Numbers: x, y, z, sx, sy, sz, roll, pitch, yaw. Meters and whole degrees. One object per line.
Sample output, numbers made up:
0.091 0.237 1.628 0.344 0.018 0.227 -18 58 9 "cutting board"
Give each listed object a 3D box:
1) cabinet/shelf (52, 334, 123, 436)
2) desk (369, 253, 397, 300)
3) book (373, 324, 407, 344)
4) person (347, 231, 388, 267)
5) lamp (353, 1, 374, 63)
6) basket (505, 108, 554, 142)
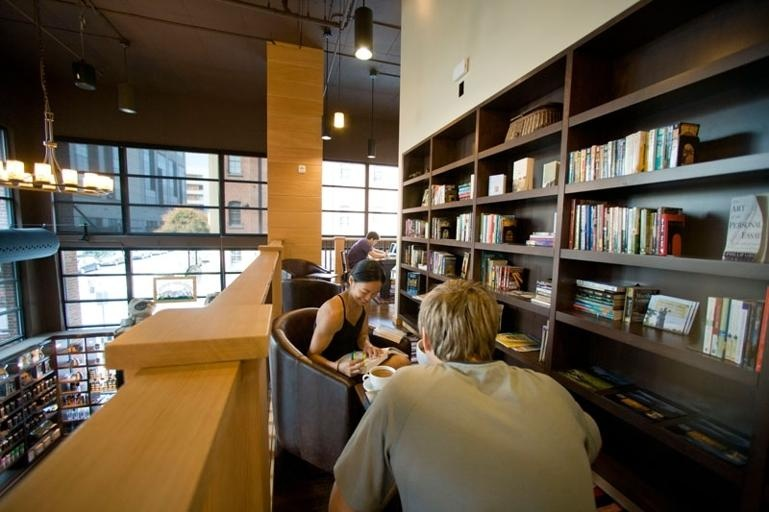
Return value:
-6.188 2.596 10.905 0.989 2.322 1.394 -1 4 -25 "cabinet/shelf"
0.034 0.333 9.770 0.611 0.692 1.075 -1 5 -5 "desk"
0.045 0.785 5.508 0.277 0.073 0.182 13 -29 32 "book"
-0.359 -0.086 8.793 0.550 0.635 0.824 3 4 32 "person"
-0.259 -2.662 6.184 0.193 0.650 0.237 0 4 -10 "lamp"
1.542 -1.417 5.706 0.270 0.148 0.400 -10 4 -39 "basket"
